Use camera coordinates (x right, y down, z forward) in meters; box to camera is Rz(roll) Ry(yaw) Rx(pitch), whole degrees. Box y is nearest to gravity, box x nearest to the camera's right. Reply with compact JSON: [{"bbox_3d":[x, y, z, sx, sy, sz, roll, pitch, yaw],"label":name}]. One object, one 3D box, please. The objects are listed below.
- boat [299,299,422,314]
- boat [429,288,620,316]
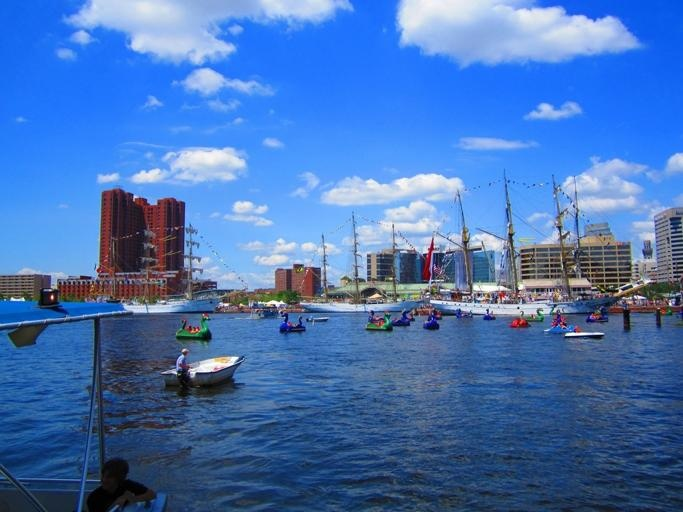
[{"bbox_3d":[4.392,13.302,162.275,33.615,2.977,4.516,-1,-1,39],"label":"boat"},{"bbox_3d":[32.221,9.705,119.737,15.472,3.841,36.394,0,-1,-35],"label":"boat"}]
